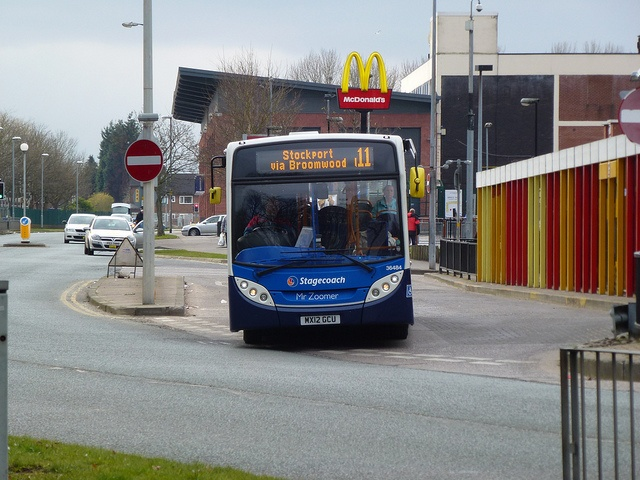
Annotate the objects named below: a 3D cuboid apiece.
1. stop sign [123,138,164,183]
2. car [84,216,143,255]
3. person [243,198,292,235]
[{"bbox_3d":[-3.353,-1.553,17.248,0.733,0.899,0.079,-4,34,-16],"label":"stop sign"},{"bbox_3d":[-8.512,-0.183,36.444,1.777,1.502,2.599,0,1,-15],"label":"car"},{"bbox_3d":[-0.801,-0.258,14.076,0.749,0.494,1.120,-1,-7,5],"label":"person"}]
